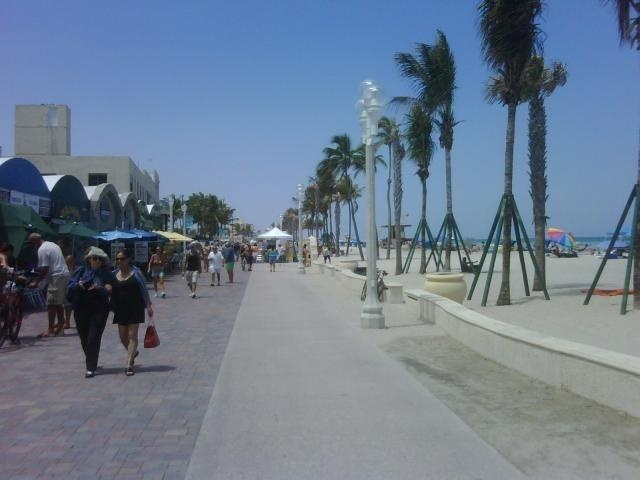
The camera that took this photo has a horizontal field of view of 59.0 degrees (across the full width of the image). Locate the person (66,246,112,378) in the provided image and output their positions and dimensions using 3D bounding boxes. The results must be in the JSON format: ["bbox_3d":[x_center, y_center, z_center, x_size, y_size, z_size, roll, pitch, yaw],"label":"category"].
[{"bbox_3d":[-3.733,1.173,9.329,0.660,1.996,0.863,-2,4,-38],"label":"person"}]

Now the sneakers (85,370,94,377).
[{"bbox_3d":[-3.640,2.114,8.977,0.141,0.120,0.129,-1,4,-23],"label":"sneakers"}]

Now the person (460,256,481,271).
[{"bbox_3d":[8.373,1.322,31.475,0.649,0.765,0.669,0,5,8],"label":"person"}]

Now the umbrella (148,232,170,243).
[{"bbox_3d":[-8.230,-0.140,29.106,0.507,0.354,0.904,4,2,7],"label":"umbrella"}]

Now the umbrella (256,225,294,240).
[{"bbox_3d":[-4.033,-0.470,55.767,3.520,1.768,3.632,3,-5,-33],"label":"umbrella"}]

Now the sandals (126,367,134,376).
[{"bbox_3d":[-3.061,2.103,9.178,0.129,0.116,0.319,-1,4,-20],"label":"sandals"}]

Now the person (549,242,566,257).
[{"bbox_3d":[25.043,1.014,59.643,1.222,1.244,2.372,0,0,2],"label":"person"}]

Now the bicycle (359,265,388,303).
[{"bbox_3d":[1.793,1.370,17.556,0.993,0.722,0.738,7,-27,-4],"label":"bicycle"}]

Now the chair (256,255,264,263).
[{"bbox_3d":[-5.915,1.875,56.654,0.760,0.899,0.765,0,-7,-3],"label":"chair"}]
